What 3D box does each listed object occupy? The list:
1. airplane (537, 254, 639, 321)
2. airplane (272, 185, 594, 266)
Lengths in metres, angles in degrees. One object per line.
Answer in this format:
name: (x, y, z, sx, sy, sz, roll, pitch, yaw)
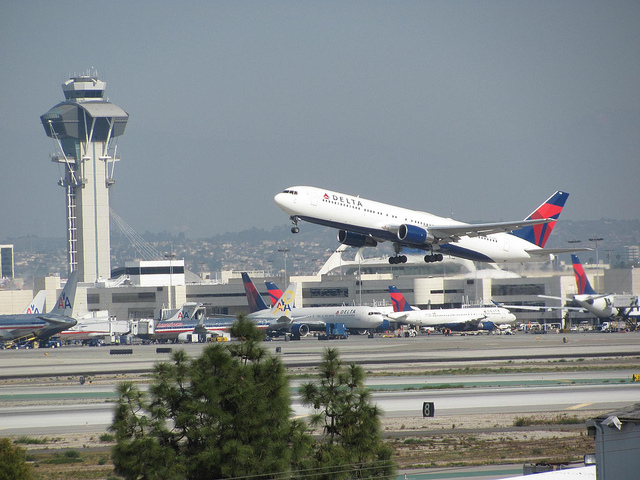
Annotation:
airplane: (33.126, 5.778, 184.753, 9.250, 8.190, 13.472, -3, -6, 6)
airplane: (10.415, -1.562, 146.548, 20.312, 6.898, 23.731, -5, -6, 22)
